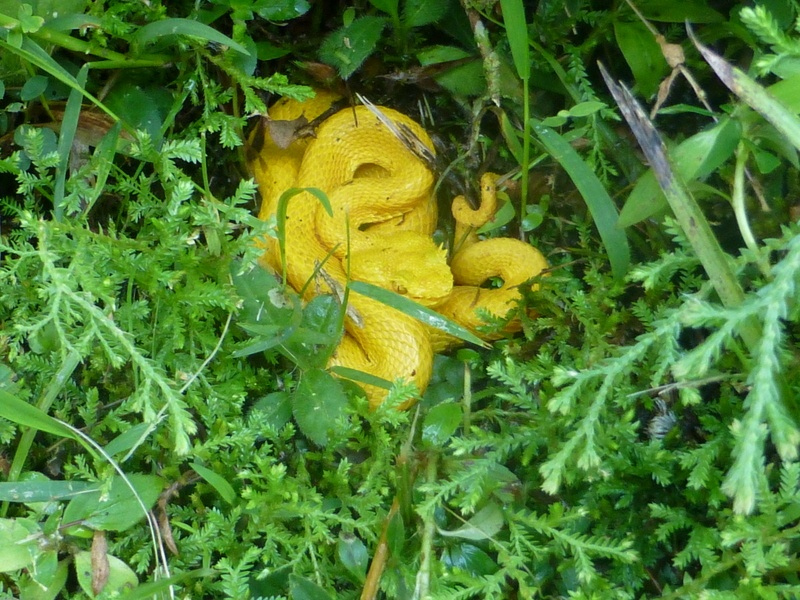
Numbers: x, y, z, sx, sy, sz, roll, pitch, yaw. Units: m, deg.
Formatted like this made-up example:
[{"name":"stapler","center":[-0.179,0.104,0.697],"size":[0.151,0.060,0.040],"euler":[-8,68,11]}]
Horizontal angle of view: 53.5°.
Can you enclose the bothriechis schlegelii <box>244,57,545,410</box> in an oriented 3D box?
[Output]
[{"name":"bothriechis schlegelii","center":[-0.095,-0.245,2.786],"size":[0.893,0.351,1.257],"euler":[-20,80,-26]}]
